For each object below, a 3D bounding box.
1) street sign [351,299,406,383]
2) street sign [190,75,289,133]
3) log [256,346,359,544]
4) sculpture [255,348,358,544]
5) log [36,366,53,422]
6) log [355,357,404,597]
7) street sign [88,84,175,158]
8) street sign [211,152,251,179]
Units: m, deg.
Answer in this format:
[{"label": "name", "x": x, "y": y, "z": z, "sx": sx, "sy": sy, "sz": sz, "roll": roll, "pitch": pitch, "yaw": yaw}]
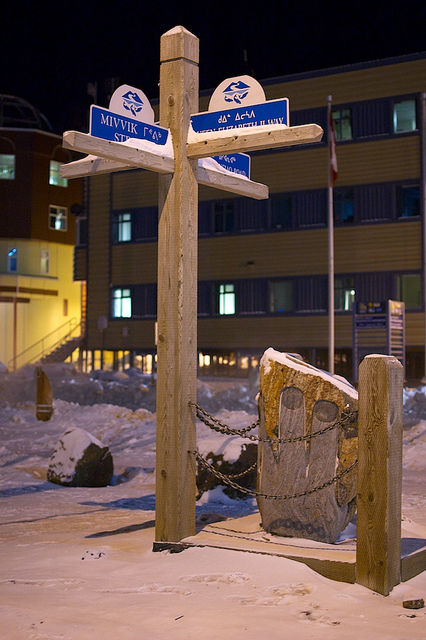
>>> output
[{"label": "street sign", "x": 4.977, "y": 0.578, "z": 32.997, "sx": 1.272, "sy": 2.554, "sz": 1.369, "roll": 1, "pitch": 7, "yaw": 32}, {"label": "street sign", "x": 0.267, "y": -1.961, "z": 10.156, "sx": 1.051, "sy": 0.590, "sz": 0.283, "roll": -4, "pitch": -5, "yaw": 32}, {"label": "log", "x": 0.801, "y": 1.059, "z": 9.474, "sx": 0.735, "sy": 1.710, "sz": 0.814, "roll": -2, "pitch": -1, "yaw": 21}, {"label": "sculpture", "x": 0.967, "y": 1.097, "z": 9.959, "sx": 1.136, "sy": 1.432, "sz": 1.280, "roll": -1, "pitch": -4, "yaw": 20}, {"label": "log", "x": -3.460, "y": 1.547, "z": 22.802, "sx": 0.333, "sy": 1.007, "sz": 0.926, "roll": 0, "pitch": -4, "yaw": -9}, {"label": "log", "x": 1.288, "y": 1.190, "z": 8.614, "sx": 0.387, "sy": 1.799, "sz": 0.408, "roll": -1, "pitch": -4, "yaw": 10}, {"label": "street sign", "x": -0.739, "y": -1.814, "z": 10.042, "sx": 0.802, "sy": 0.650, "sz": 0.016, "roll": 10, "pitch": -22, "yaw": -22}, {"label": "street sign", "x": 0.166, "y": -1.517, "z": 10.960, "sx": 0.291, "sy": 0.305, "sz": 0.038, "roll": 11, "pitch": -20, "yaw": -42}]
